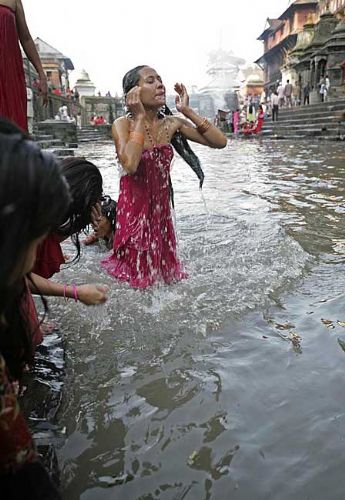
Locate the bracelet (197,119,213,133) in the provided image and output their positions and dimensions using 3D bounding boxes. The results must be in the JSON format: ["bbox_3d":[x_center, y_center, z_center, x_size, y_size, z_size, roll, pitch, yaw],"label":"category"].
[{"bbox_3d":[0.243,-0.932,2.780,0.069,0.105,0.093,7,-21,14],"label":"bracelet"}]

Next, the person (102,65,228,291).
[{"bbox_3d":[-0.108,-0.537,2.800,0.832,1.533,0.430,-14,18,-39],"label":"person"}]

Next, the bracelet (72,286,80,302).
[{"bbox_3d":[-0.421,0.198,1.630,0.025,0.059,0.052,-17,22,-25],"label":"bracelet"}]
